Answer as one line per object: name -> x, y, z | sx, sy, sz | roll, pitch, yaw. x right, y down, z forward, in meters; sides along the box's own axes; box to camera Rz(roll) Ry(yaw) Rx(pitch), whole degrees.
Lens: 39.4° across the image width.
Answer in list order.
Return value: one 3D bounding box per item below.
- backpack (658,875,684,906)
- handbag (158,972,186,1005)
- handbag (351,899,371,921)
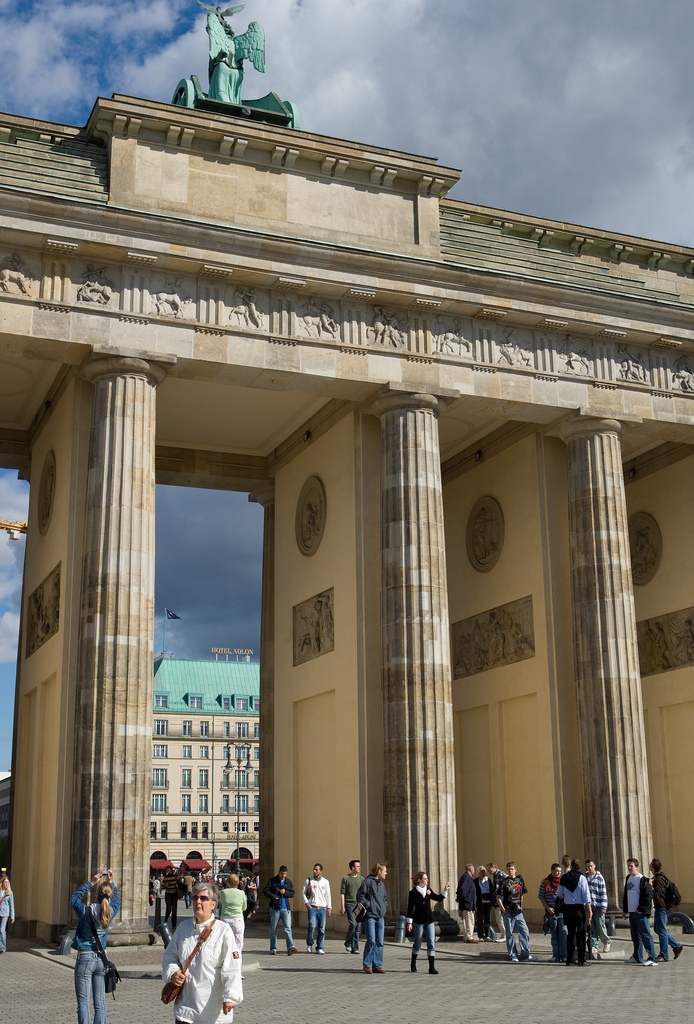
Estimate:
backpack -> 4.691, 5.491, 14.075 | 0.216, 0.424, 0.761 | -9, -18, 24
handbag -> -0.678, 1.869, 3.822 | 0.084, 0.120, 0.285 | 1, -17, -10
handbag -> 0.205, 5.282, 12.874 | 0.175, 0.264, 0.455 | -2, -16, -1
